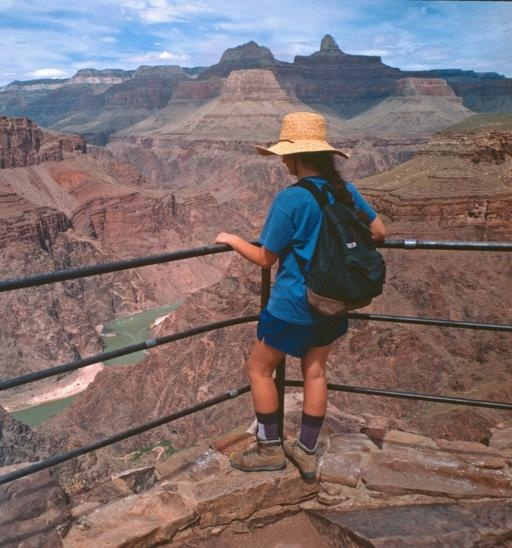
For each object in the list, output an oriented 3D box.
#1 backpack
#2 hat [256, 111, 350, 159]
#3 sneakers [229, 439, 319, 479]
[{"bbox_3d":[0.430,-0.149,2.723,0.374,0.721,0.308,-7,4,-22],"label":"backpack"},{"bbox_3d":[0.258,-0.829,2.954,0.495,0.175,0.388,1,3,1],"label":"hat"},{"bbox_3d":[0.108,1.076,3.097,0.660,0.205,0.189,3,-5,6],"label":"sneakers"}]
